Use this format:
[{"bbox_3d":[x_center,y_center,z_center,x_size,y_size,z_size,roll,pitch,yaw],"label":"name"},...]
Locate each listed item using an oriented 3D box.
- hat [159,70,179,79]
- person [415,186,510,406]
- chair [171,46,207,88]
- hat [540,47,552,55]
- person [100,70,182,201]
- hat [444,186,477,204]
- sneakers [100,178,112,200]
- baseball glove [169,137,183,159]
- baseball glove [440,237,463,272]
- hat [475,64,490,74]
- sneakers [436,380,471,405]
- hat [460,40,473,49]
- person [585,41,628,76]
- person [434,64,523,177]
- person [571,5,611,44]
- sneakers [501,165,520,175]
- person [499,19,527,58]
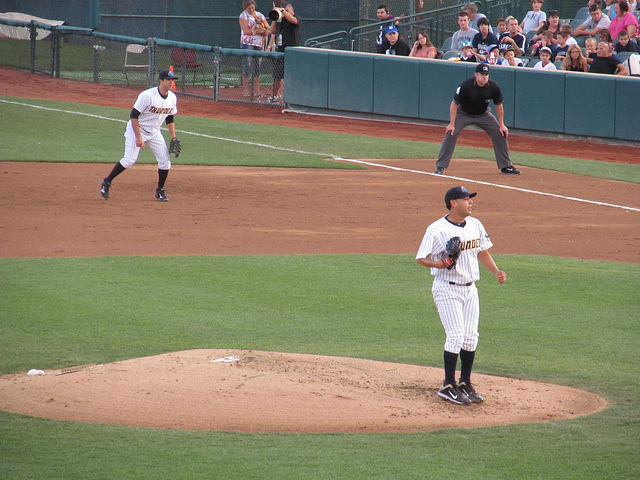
[{"bbox_3d":[-2.556,-2.767,21.182,0.255,0.116,0.167,7,17,20],"label":"hat"},{"bbox_3d":[1.650,0.666,15.445,0.883,2.603,0.559,5,8,3],"label":"person"},{"bbox_3d":[-3.659,-4.765,34.870,0.792,1.060,1.799,2,7,-11],"label":"chair"},{"bbox_3d":[5.083,-4.267,28.498,0.351,0.133,0.506,6,4,7],"label":"hat"},{"bbox_3d":[-2.991,-1.820,21.892,1.175,2.281,1.468,3,8,-7],"label":"person"},{"bbox_3d":[1.710,-0.571,15.450,0.344,0.161,0.212,-19,4,11],"label":"hat"},{"bbox_3d":[-3.713,-0.899,21.894,0.138,0.340,0.185,-9,17,-28],"label":"sneakers"},{"bbox_3d":[-2.566,-1.625,22.144,0.284,0.318,0.355,12,6,12],"label":"baseball glove"},{"bbox_3d":[1.609,0.123,15.335,0.210,0.317,0.160,20,-29,10],"label":"baseball glove"},{"bbox_3d":[2.963,-3.124,23.015,0.212,0.186,0.343,4,7,1],"label":"hat"},{"bbox_3d":[1.624,1.861,15.372,0.469,0.194,0.166,17,23,8],"label":"sneakers"},{"bbox_3d":[3.467,-4.622,29.805,0.399,0.172,0.538,0,1,-2],"label":"hat"},{"bbox_3d":[6.232,-3.979,27.677,0.479,0.716,1.055,-3,10,-40],"label":"person"},{"bbox_3d":[2.964,-2.251,23.765,1.291,2.092,1.562,4,8,3],"label":"person"},{"bbox_3d":[6.389,-5.044,29.461,0.875,0.735,0.612,-15,26,-33],"label":"person"},{"bbox_3d":[3.683,-1.360,24.537,0.423,0.154,0.140,2,13,5],"label":"sneakers"},{"bbox_3d":[4.546,-4.704,30.120,0.770,1.070,0.703,7,17,22],"label":"person"}]
